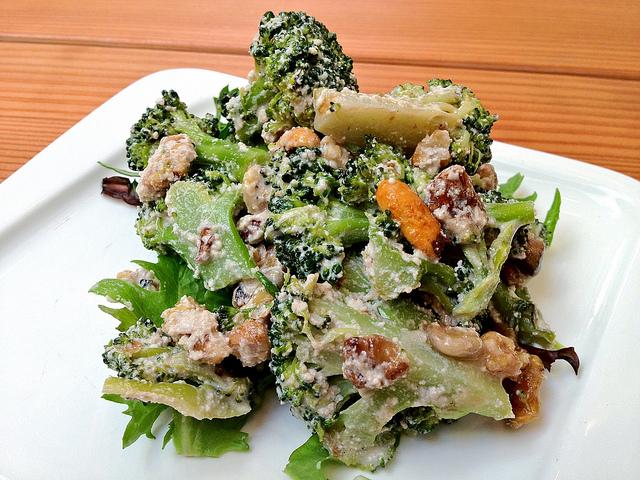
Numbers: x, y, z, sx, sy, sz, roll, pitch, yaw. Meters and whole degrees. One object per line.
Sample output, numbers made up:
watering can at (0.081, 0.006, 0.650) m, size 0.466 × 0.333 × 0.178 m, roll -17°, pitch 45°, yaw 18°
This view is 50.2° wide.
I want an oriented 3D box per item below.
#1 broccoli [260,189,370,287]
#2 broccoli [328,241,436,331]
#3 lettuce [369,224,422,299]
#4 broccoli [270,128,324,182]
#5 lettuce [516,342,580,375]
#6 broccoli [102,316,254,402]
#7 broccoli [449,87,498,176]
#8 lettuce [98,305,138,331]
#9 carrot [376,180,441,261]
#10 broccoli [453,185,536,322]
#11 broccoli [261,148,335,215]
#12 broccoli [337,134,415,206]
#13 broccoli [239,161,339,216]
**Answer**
broccoli at (-0.021, -0.119, 2.835) m, size 0.384 × 0.392 × 0.132 m, roll 12°, pitch 65°, yaw 3°
broccoli at (0.221, 0.223, 2.742) m, size 0.414 × 0.076 × 0.296 m, roll 38°, pitch 34°, yaw 8°
lettuce at (0.277, 0.097, 2.677) m, size 0.060 × 0.216 × 0.221 m, roll -3°, pitch 54°, yaw -52°
broccoli at (-0.098, -0.397, 2.948) m, size 0.239 × 0.090 × 0.336 m, roll -8°, pitch 42°, yaw -17°
lettuce at (0.993, 0.491, 2.947) m, size 0.209 × 0.070 × 0.141 m, roll 8°, pitch 21°, yaw 8°
broccoli at (-0.584, 0.558, 2.862) m, size 0.599 × 0.231 × 0.239 m, roll 15°, pitch 52°, yaw 14°
broccoli at (0.646, -0.464, 2.865) m, size 0.210 × 0.105 × 0.343 m, roll 6°, pitch 86°, yaw -15°
lettuce at (-0.881, 0.341, 3.020) m, size 0.144 × 0.112 × 0.030 m, roll 30°, pitch 24°, yaw -5°
carrot at (0.346, -0.086, 2.764) m, size 0.164 × 0.120 × 0.370 m, roll -33°, pitch 87°, yaw -38°
broccoli at (0.729, 0.033, 2.853) m, size 0.231 × 0.190 × 0.643 m, roll 13°, pitch 78°, yaw 5°
broccoli at (-0.078, -0.212, 2.910) m, size 0.260 × 0.089 × 0.288 m, roll -25°, pitch 55°, yaw 10°
broccoli at (0.238, -0.257, 2.843) m, size 0.277 × 0.080 × 0.297 m, roll -22°, pitch 56°, yaw 5°
broccoli at (-0.170, -0.219, 2.927) m, size 0.251 × 0.080 × 0.262 m, roll 15°, pitch 36°, yaw 36°
